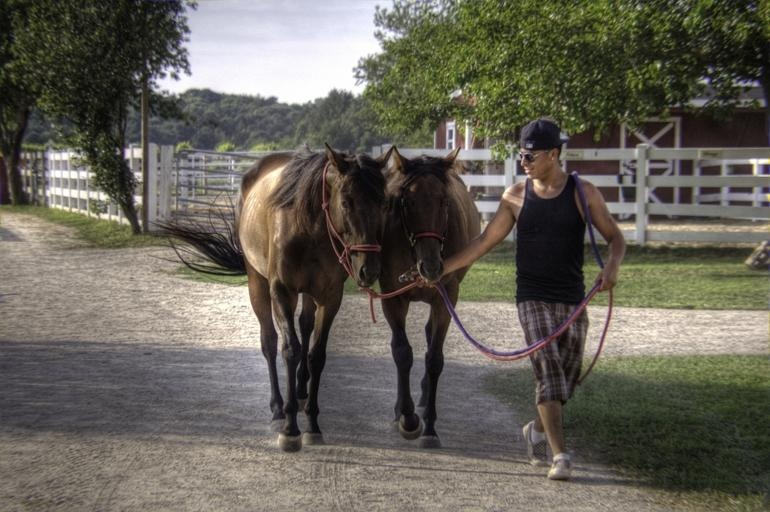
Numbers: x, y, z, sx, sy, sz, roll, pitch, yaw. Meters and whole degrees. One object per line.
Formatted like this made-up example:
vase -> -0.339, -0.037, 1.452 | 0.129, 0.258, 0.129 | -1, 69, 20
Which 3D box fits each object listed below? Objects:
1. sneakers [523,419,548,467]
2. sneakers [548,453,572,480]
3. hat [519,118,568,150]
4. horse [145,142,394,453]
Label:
sneakers -> 1.885, 2.350, 10.527 | 0.205, 0.609, 0.234 | -6, -3, -3
sneakers -> 2.122, 2.566, 10.205 | 0.175, 0.198, 0.418 | 0, -10, 0
hat -> 1.929, -1.501, 10.313 | 0.550, 0.397, 0.270 | 3, 9, 8
horse -> -1.280, 0.286, 11.904 | 1.309, 3.822, 3.548 | -3, 10, -27
